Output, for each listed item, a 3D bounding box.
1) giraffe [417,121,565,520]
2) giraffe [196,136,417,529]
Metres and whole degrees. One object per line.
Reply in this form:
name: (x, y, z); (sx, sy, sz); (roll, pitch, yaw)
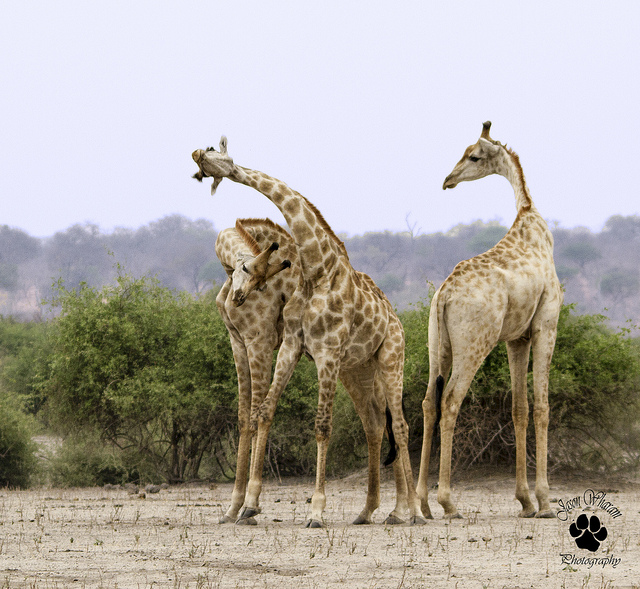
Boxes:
giraffe: (3.286, 0.318, 21.752); (2.461, 7.823, 1.427); (3, -11, -10)
giraffe: (0.067, 1.113, 21.322); (3.555, 6.460, 1.504); (4, -11, -10)
